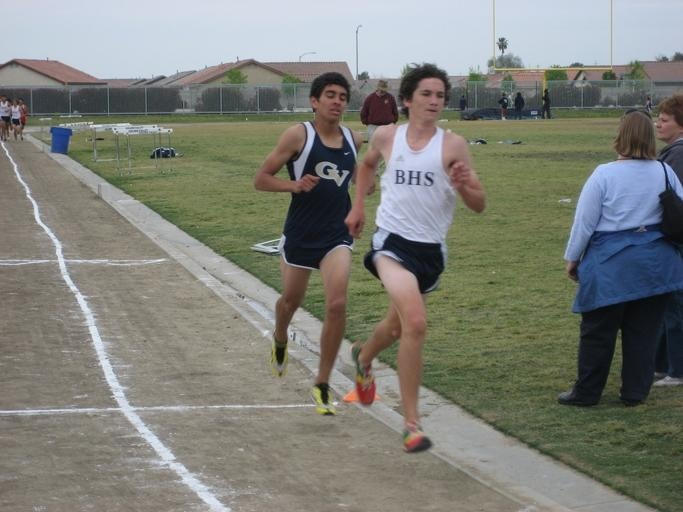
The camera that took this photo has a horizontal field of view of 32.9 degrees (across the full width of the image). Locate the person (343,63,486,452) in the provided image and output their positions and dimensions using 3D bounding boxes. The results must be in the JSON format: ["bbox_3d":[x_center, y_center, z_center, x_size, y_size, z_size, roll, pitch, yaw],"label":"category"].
[{"bbox_3d":[0.593,-0.035,9.101,0.963,3.010,1.316,-3,10,-12],"label":"person"}]

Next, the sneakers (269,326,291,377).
[{"bbox_3d":[-0.534,0.876,10.084,0.146,0.344,0.171,-2,23,-3],"label":"sneakers"}]

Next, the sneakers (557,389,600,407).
[{"bbox_3d":[1.994,1.191,9.778,0.349,0.151,0.150,4,6,17],"label":"sneakers"}]

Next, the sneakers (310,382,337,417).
[{"bbox_3d":[-0.150,1.181,9.481,0.180,0.251,0.201,-2,10,-6],"label":"sneakers"}]

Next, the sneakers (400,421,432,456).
[{"bbox_3d":[0.552,1.404,8.698,0.171,0.256,0.235,-4,10,-15],"label":"sneakers"}]

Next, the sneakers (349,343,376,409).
[{"bbox_3d":[0.173,1.000,9.601,0.210,0.488,0.233,-17,14,-23],"label":"sneakers"}]
